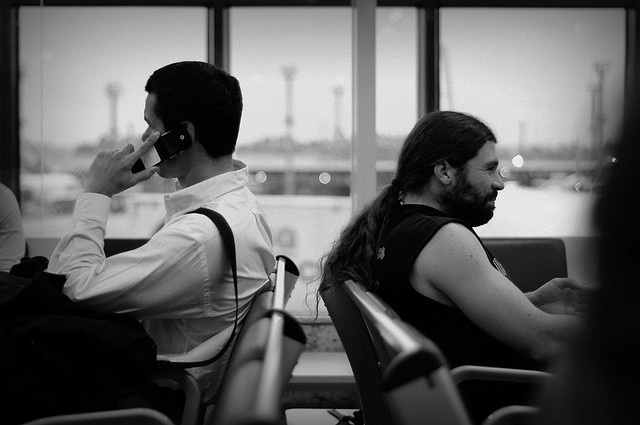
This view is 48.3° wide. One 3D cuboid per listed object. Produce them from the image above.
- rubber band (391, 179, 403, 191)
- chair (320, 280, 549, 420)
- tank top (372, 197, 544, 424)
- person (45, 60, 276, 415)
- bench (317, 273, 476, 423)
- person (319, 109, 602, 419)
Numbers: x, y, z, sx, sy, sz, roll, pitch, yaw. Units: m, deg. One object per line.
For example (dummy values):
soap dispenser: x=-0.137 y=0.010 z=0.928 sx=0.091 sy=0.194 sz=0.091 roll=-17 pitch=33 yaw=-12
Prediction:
rubber band: x=0.304 y=-0.106 z=2.805 sx=0.012 sy=0.034 sz=0.038 roll=-34 pitch=31 yaw=-10
chair: x=0.355 y=0.260 z=2.263 sx=0.443 sy=0.527 sz=0.744 roll=-5 pitch=1 yaw=-8
tank top: x=0.511 y=0.325 z=2.749 sx=0.629 sy=0.776 sz=0.551 roll=0 pitch=1 yaw=3
person: x=-0.565 y=0.137 z=2.750 sx=0.762 sy=1.379 sz=0.675 roll=9 pitch=18 yaw=-2
bench: x=0.230 y=0.534 z=2.358 sx=0.267 sy=0.538 sz=0.753 roll=-1 pitch=11 yaw=-11
person: x=0.553 y=0.182 z=3.106 sx=1.146 sy=1.474 sz=0.808 roll=-6 pitch=1 yaw=-4
